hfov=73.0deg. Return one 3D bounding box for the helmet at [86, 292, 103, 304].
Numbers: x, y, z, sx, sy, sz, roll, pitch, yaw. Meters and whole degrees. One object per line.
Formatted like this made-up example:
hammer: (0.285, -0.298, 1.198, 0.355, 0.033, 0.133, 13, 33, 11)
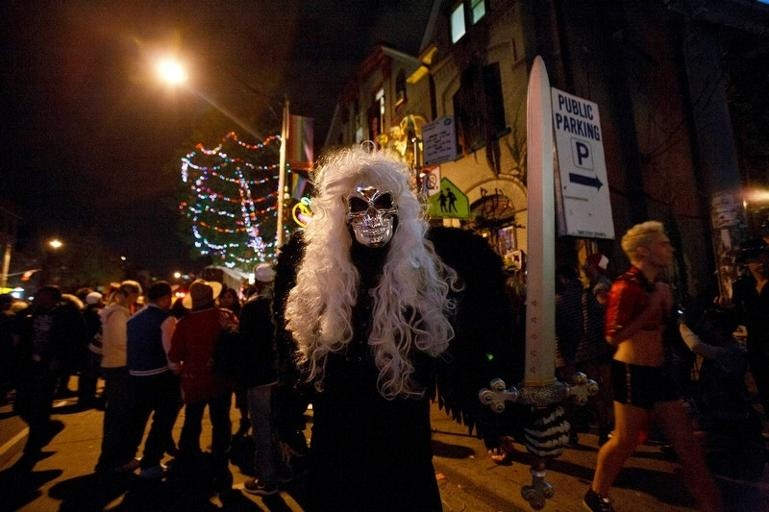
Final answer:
helmet: (-6.789, 0.973, 12.062, 0.289, 0.294, 0.375, 5, -27, -9)
